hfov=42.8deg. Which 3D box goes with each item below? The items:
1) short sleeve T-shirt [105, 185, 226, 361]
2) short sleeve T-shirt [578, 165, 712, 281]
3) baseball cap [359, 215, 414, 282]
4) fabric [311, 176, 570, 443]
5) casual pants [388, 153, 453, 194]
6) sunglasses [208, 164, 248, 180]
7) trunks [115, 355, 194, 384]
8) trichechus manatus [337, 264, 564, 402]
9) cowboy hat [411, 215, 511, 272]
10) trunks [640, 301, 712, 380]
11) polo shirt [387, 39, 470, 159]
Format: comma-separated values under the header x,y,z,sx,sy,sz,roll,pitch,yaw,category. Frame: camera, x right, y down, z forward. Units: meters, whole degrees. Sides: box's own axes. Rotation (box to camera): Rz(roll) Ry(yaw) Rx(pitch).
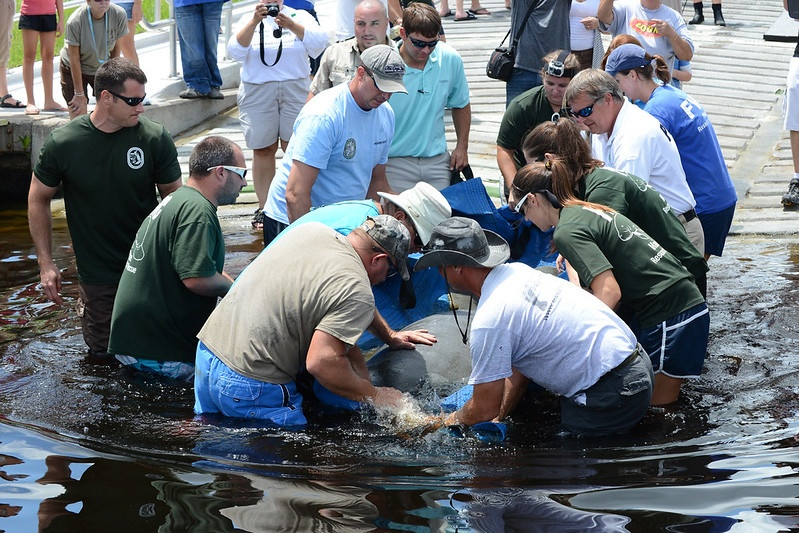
x,y,z,sx,sy,sz,roll,pitch,yaw,category
-1.853,0.078,8.056,0.763,1.181,1.281,10,9,-22,short sleeve T-shirt
1.968,-0.397,8.043,0.985,0.369,0.879,41,32,-5,short sleeve T-shirt
-0.077,-0.174,7.511,0.255,0.501,0.335,-46,21,7,baseball cap
0.087,0.312,7.905,1.636,0.835,1.992,21,40,-30,fabric
0.142,-0.866,9.998,0.704,0.555,0.389,0,-3,-15,casual pants
-1.374,-0.740,8.086,0.294,0.136,0.095,-11,21,-31,sunglasses
-1.939,0.817,8.181,0.398,0.090,0.313,20,1,-20,trunks
0.456,0.423,8.179,0.914,0.563,1.854,32,29,24,trichechus manatus
0.447,-0.150,7.238,0.551,0.213,0.429,-7,12,9,cowboy hat
2.097,0.562,7.812,0.564,0.446,0.310,-20,7,-13,trunks
0.275,-1.611,9.851,0.333,1.063,0.856,13,23,36,polo shirt
